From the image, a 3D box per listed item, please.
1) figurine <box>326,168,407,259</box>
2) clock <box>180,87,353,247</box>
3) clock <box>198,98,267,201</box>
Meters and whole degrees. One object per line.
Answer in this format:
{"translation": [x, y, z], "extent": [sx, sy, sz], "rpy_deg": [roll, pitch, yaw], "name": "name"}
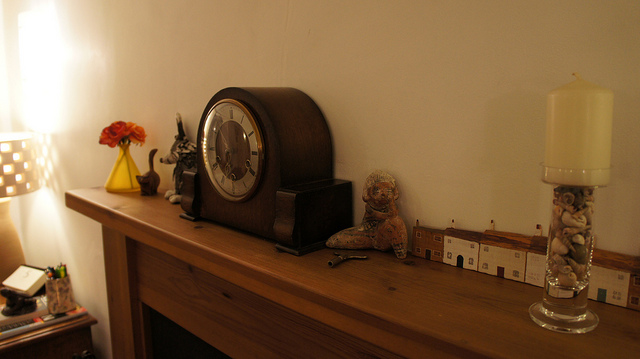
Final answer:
{"translation": [0.159, 0.105, 1.486], "extent": [0.298, 0.273, 0.165], "rpy_deg": [2, 18, 18], "name": "figurine"}
{"translation": [-0.238, -0.074, 1.688], "extent": [0.715, 0.557, 0.295], "rpy_deg": [9, 12, 42], "name": "clock"}
{"translation": [-0.308, -0.111, 1.551], "extent": [0.329, 0.357, 0.047], "rpy_deg": [11, 16, 38], "name": "clock"}
